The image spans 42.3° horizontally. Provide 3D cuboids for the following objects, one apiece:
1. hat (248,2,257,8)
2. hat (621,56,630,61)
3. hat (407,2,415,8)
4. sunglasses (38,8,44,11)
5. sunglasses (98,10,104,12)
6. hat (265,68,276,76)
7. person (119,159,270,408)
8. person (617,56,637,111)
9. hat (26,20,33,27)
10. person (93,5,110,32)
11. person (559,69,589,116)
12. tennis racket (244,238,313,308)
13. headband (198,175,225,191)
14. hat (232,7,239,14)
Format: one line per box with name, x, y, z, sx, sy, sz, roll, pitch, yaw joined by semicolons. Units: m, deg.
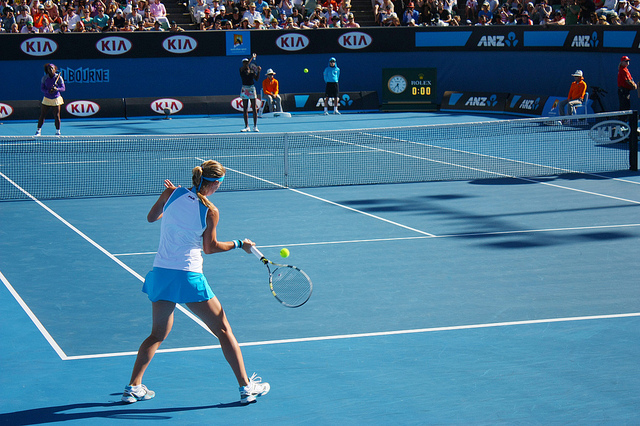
hat;-2.556;-7.799;31.288;0.326;0.086;0.290;1;2;1
hat;8.730;-4.291;23.463;0.335;0.140;0.213;0;11;8
hat;3.581;-8.057;32.486;0.282;0.139;0.260;3;5;17
sunglasses;-9.798;-7.035;29.097;0.088;0.049;0.154;3;12;17
sunglasses;-7.963;-7.242;30.082;0.170;0.033;0.106;0;4;-19
hat;-1.684;-4.738;27.849;0.328;0.117;0.341;-4;-3;-10
person;-1.433;0.785;9.088;1.537;2.660;0.768;-3;14;-9
person;8.745;-3.616;23.528;0.510;1.490;0.904;3;14;17
hat;-10.138;-6.510;28.844;0.218;0.231;0.262;-6;13;-21
person;-7.964;-6.993;30.045;0.566;0.895;0.953;-4;13;-13
person;7.711;-3.596;25.170;0.768;1.316;1.975;3;12;16
tennis racket;-0.513;0.681;9.512;1.116;0.414;0.084;40;29;27
headband;-1.171;-0.317;8.948;0.216;0.076;0.166;-5;2;26
hat;-3.169;-7.513;31.123;0.325;0.186;0.289;2;6;-6
